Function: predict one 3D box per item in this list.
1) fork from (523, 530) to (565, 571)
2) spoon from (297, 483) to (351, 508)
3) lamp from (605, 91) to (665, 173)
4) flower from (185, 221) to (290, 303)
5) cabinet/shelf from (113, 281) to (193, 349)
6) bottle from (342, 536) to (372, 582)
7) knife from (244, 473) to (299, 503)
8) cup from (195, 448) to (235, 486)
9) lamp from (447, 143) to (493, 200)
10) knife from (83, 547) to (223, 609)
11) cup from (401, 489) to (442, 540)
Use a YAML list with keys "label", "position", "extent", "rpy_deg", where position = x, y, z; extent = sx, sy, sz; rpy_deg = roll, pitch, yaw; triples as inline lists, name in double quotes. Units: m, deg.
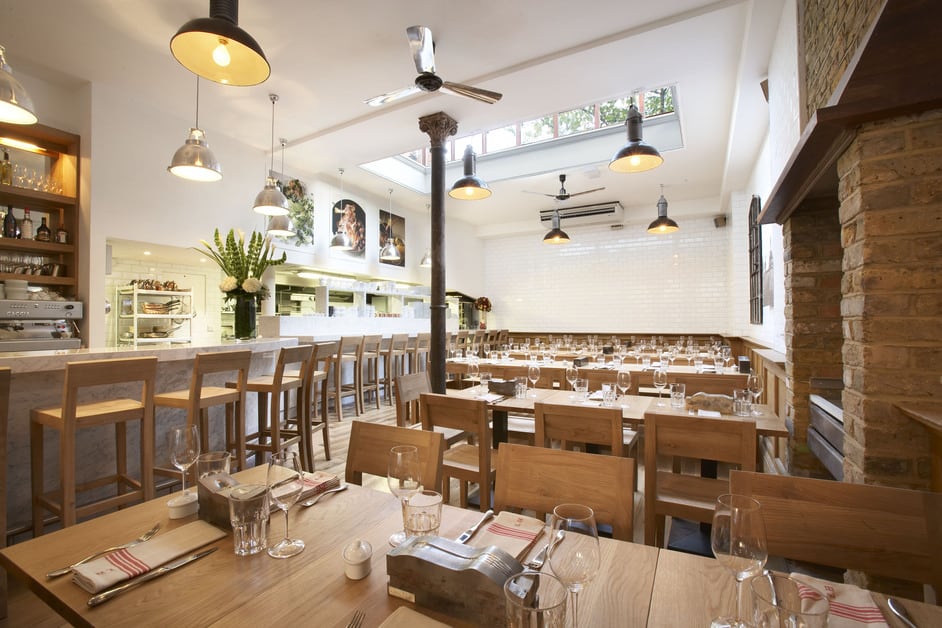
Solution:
- label: "fork"
  position: [0.342, 1.096, 2.774]
  extent: [0.079, 0.064, 0.463]
  rpy_deg: [-5, -12, 14]
- label: "spoon"
  position: [-0.791, 0.983, 3.244]
  extent: [0.078, 0.046, 0.306]
  rpy_deg: [15, 20, 36]
- label: "lamp"
  position: [1.638, -1.885, 6.145]
  extent: [0.470, 0.709, 0.767]
  rpy_deg: [-2, 0, 9]
- label: "flower"
  position: [-2.981, -0.676, 7.487]
  extent: [1.290, 1.130, 1.281]
  rpy_deg: [5, 4, 35]
- label: "cabinet/shelf"
  position: [-4.256, 0.018, 7.981]
  extent: [0.389, 1.068, 0.880]
  rpy_deg: [-5, -6, 41]
- label: "bottle"
  position: [-0.551, 1.169, 2.875]
  extent: [0.151, 0.149, 0.149]
  rpy_deg: [0, 3, 8]
- label: "knife"
  position: [-0.972, 0.881, 3.020]
  extent: [0.165, 0.040, 0.169]
  rpy_deg: [0, 1, -41]
- label: "cup"
  position: [-1.357, 0.813, 3.190]
  extent: [0.159, 0.164, 0.149]
  rpy_deg: [0, -2, 0]
- label: "lamp"
  position: [-0.087, -1.599, 6.901]
  extent: [0.575, 0.609, 0.611]
  rpy_deg: [0, 0, 25]
- label: "knife"
  position: [-1.481, 1.243, 2.799]
  extent: [0.619, 0.050, 0.081]
  rpy_deg: [-12, 31, -42]
- label: "cup"
  position: [-0.237, 0.962, 2.889]
  extent: [0.193, 0.207, 0.199]
  rpy_deg: [-1, -9, 0]
